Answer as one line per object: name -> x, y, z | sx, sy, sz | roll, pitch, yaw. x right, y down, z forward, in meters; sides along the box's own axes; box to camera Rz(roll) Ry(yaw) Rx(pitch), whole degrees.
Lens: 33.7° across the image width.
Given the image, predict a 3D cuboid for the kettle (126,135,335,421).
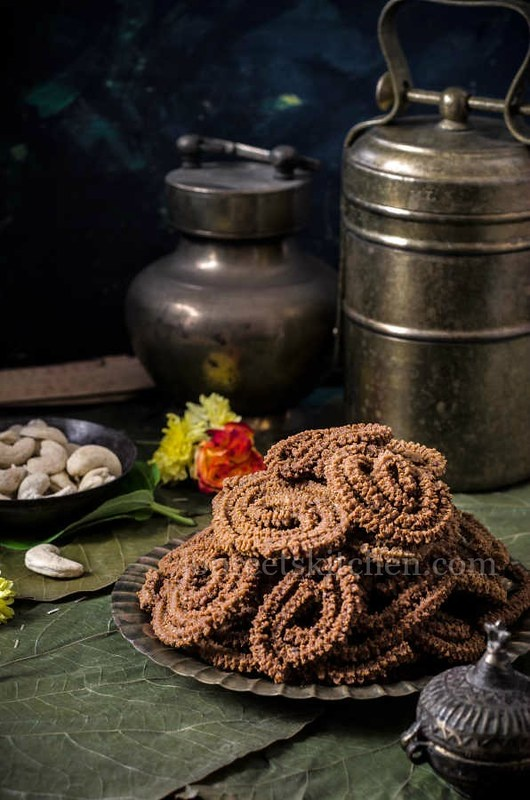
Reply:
kettle -> -0.013, -0.193, 1.350 | 0.372, 0.390, 0.344 | 8, 34, 23
